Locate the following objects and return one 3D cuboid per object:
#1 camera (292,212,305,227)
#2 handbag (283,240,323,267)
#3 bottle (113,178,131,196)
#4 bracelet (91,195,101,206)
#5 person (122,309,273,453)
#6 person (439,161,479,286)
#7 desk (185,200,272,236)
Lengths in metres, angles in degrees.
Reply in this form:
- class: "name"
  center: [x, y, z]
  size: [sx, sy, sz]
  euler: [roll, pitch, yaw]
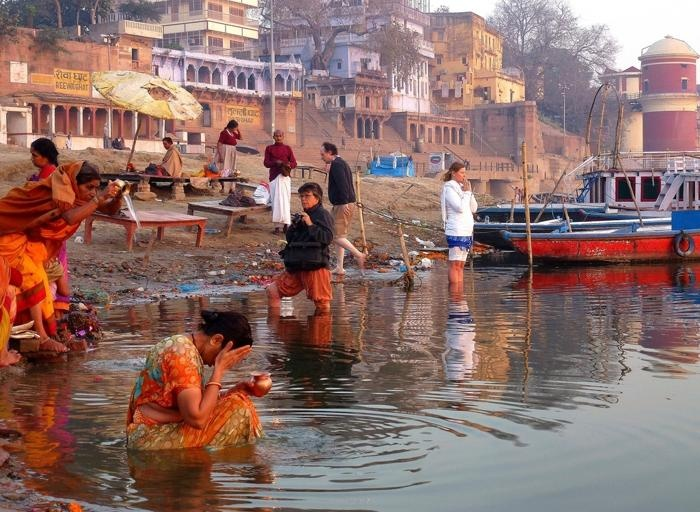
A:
- class: "camera"
  center: [-0.689, -0.500, 13.896]
  size: [0.154, 0.175, 0.064]
  euler: [3, 14, 16]
- class: "handbag"
  center: [-0.619, -0.035, 13.867]
  size: [0.573, 0.386, 0.273]
  euler: [2, 10, 2]
- class: "bottle"
  center: [-2.261, -0.676, 10.384]
  size: [0.134, 0.165, 0.408]
  euler: [0, 9, -8]
- class: "bracelet"
  center: [-2.475, -0.561, 10.211]
  size: [0.026, 0.079, 0.093]
  euler: [5, -22, -42]
- class: "person"
  center: [-1.248, 0.994, 8.512]
  size: [1.106, 1.151, 0.382]
  euler: [0, 11, -11]
- class: "person"
  center: [1.623, -0.444, 15.876]
  size: [0.510, 1.987, 0.772]
  euler: [3, 11, 6]
- class: "desk"
  center: [-2.274, -0.905, 21.875]
  size: [1.219, 0.383, 1.902]
  euler: [12, 12, 36]
